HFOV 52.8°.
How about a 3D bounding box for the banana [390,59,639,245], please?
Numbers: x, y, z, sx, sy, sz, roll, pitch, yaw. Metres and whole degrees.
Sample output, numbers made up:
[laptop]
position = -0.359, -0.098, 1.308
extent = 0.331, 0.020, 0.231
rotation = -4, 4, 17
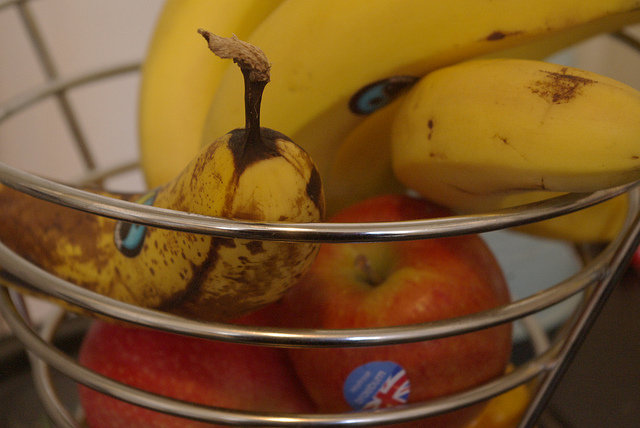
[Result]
[banana]
position = 0.126, -0.054, 0.497
extent = 0.189, 0.129, 0.113
rotation = 17, -2, 11
